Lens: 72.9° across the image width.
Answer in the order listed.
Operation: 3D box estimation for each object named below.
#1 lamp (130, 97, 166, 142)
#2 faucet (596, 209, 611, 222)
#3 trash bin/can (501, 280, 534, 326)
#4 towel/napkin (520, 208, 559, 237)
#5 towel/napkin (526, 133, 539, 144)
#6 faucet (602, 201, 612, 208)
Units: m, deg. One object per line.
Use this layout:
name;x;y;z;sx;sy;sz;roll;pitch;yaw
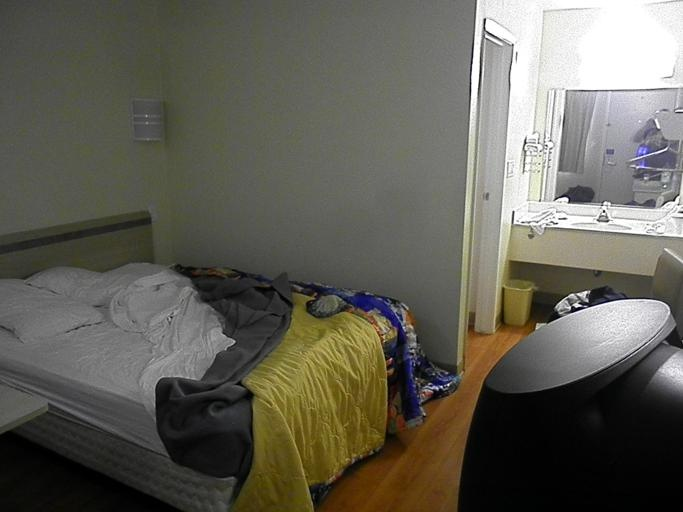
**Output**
lamp;-1.468;-1.038;3.512;0.072;0.291;0.308;8;13;24
faucet;2.223;-0.348;3.940;0.077;0.041;0.113;1;35;33
trash bin/can;1.545;0.406;4.059;0.273;0.327;0.339;7;12;32
towel/napkin;1.703;-0.302;3.927;0.223;0.070;0.355;14;28;34
towel/napkin;1.694;-1.052;4.101;0.090;0.084;0.092;9;16;22
faucet;2.292;-0.468;4.015;0.060;0.032;0.086;-5;21;37
